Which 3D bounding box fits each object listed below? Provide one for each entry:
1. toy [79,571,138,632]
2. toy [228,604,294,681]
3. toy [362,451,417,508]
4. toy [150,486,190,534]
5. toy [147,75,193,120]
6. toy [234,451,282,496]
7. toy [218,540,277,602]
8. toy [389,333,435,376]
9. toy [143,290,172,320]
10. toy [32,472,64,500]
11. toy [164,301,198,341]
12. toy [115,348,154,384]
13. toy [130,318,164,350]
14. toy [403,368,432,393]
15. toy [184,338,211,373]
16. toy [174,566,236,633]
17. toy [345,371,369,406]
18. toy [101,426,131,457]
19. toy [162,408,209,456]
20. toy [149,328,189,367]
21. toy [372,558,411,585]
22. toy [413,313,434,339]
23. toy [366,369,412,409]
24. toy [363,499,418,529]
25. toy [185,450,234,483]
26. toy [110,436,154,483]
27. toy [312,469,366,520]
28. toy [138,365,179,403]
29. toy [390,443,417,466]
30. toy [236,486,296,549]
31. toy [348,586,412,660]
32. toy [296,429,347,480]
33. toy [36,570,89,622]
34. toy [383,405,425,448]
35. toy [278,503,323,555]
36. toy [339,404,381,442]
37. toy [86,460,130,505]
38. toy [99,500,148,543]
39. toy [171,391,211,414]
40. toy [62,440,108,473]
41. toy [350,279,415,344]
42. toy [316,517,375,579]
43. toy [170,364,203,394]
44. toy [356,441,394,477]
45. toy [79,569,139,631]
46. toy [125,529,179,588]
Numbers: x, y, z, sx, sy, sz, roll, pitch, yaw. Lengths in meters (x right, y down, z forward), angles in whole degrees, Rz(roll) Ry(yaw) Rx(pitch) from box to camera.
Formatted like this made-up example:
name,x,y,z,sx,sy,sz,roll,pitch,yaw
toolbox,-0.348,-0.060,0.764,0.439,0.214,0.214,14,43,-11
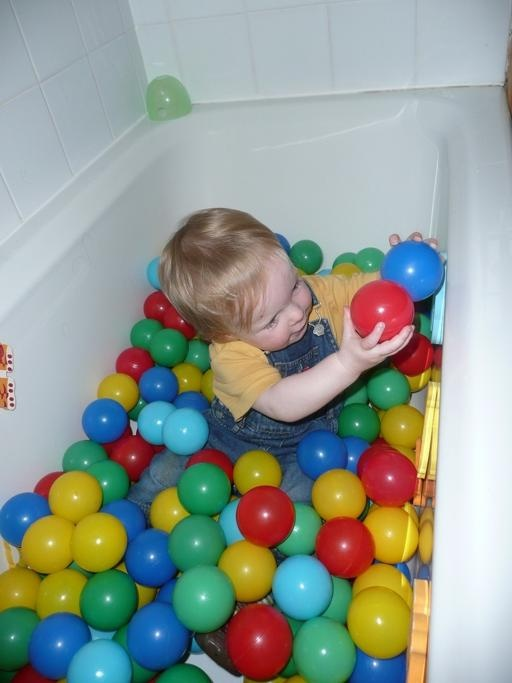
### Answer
name,x,y,z,sx,sy,sz,roll,pitch,yaw
toy,-0.248,0.437,0.881,0.097,0.116,0.100,-1,59,-19
toy,0.009,0.456,0.789,0.091,0.105,0.091,-15,20,14
toy,0.245,0.264,1.008,0.099,0.119,0.101,-8,41,24
toy,-0.174,0.330,1.034,0.072,0.086,0.073,3,-5,11
toy,-0.271,-0.735,1.569,0.139,0.107,0.110,-10,35,1
toy,0.016,0.262,1.077,0.086,0.099,0.085,-5,55,9
toy,-0.011,0.389,0.886,0.098,0.112,0.095,0,10,6
toy,0.363,0.031,1.249,0.094,0.095,0.112,1,0,5
toy,-0.287,-0.104,1.500,0.080,0.093,0.078,-5,6,-36
toy,-0.429,0.294,1.061,0.043,0.052,0.044,4,73,24
toy,-0.224,-0.052,1.485,0.094,0.113,0.095,-9,74,10
toy,-0.317,0.053,1.393,0.088,0.102,0.088,6,29,10
toy,-0.308,-0.015,1.506,0.084,0.100,0.085,9,39,-1
toy,0.421,0.097,1.333,0.061,0.044,0.056,-10,27,-21
toy,-0.161,0.033,1.509,0.081,0.096,0.082,7,20,-2
toy,-0.086,0.419,0.848,0.100,0.085,0.081,-14,35,-4
toy,0.254,0.119,1.283,0.065,0.066,0.078,-10,-6,18
toy,-0.340,0.242,1.284,0.068,0.067,0.080,7,55,-27
toy,-0.154,0.196,1.191,0.098,0.113,0.098,21,60,6
toy,-0.240,0.015,1.478,0.103,0.117,0.101,0,37,-8
toy,0.256,0.410,0.938,0.046,0.046,0.025,0,73,10
toy,0.395,-0.036,1.226,0.060,0.044,0.054,-1,26,-5
toy,0.318,0.115,1.242,0.096,0.111,0.096,-3,48,9
toy,0.266,0.321,1.002,0.060,0.060,0.071,1,-7,-2
toy,-0.099,0.250,1.087,0.073,0.074,0.087,0,1,0
toy,-0.285,0.262,1.201,0.098,0.098,0.113,-3,0,6
toy,0.152,0.283,0.955,0.093,0.106,0.092,9,74,-9
toy,-0.248,0.111,1.388,0.092,0.106,0.091,-6,51,8
toy,0.309,0.230,1.065,0.034,0.023,0.034,2,8,41
toy,0.017,0.308,0.919,0.099,0.094,0.083,-15,35,-6
toy,0.189,0.426,0.793,0.086,0.069,0.081,1,37,17
toy,0.134,0.232,1.109,0.097,0.112,0.094,-12,55,12
toy,-0.340,0.443,0.907,0.072,0.072,0.085,-7,62,0
toy,0.331,0.188,1.165,0.088,0.103,0.089,0,7,22
toy,0.088,0.351,1.007,0.084,0.100,0.085,3,11,3
toy,0.239,0.187,1.200,0.088,0.101,0.085,-8,41,8
toy,-0.297,0.292,1.113,0.080,0.093,0.081,-6,41,2
toy,-0.257,0.342,1.025,0.069,0.070,0.083,1,17,2
toy,-0.179,0.155,1.325,0.057,0.057,0.054,-4,-6,0
toy,-0.376,0.262,1.192,0.083,0.073,0.073,-16,30,46
toy,0.189,-0.048,0.815,0.089,0.103,0.088,-7,57,3
toy,0.153,0.352,0.940,0.100,0.114,0.098,10,51,6
toy,-0.184,0.101,1.416,0.073,0.073,0.085,7,21,0
toy,0.240,0.224,1.049,0.065,0.064,0.075,-12,-5,-21
toy,-0.261,0.435,0.920,0.096,0.115,0.099,-1,59,-19
toy,-0.188,0.395,0.997,0.098,0.112,0.095,5,13,3
